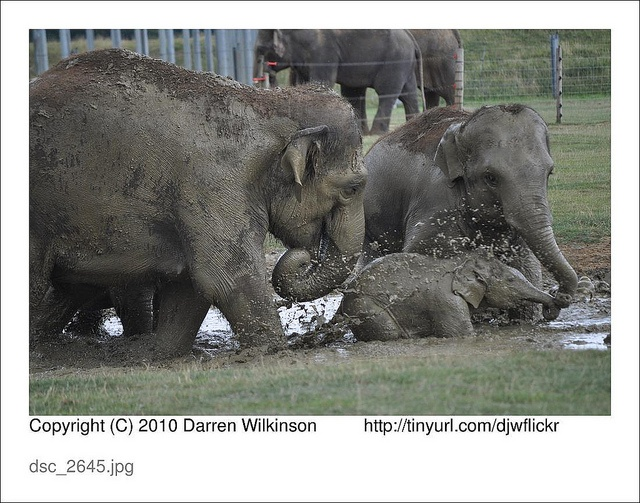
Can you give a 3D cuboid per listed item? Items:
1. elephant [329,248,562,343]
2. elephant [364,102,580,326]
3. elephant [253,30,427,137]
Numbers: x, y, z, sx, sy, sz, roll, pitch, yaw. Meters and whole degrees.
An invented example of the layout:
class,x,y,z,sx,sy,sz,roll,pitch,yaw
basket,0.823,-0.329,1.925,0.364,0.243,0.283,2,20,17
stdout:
class,x,y,z,sx,sy,sz,roll,pitch,yaw
elephant,1.084,0.544,12.944,1.935,1.143,0.742,-8,5,6
elephant,1.325,-0.329,13.576,1.216,1.959,2.996,-3,6,-33
elephant,0.281,-2.564,20.757,2.653,1.753,1.007,1,21,7
